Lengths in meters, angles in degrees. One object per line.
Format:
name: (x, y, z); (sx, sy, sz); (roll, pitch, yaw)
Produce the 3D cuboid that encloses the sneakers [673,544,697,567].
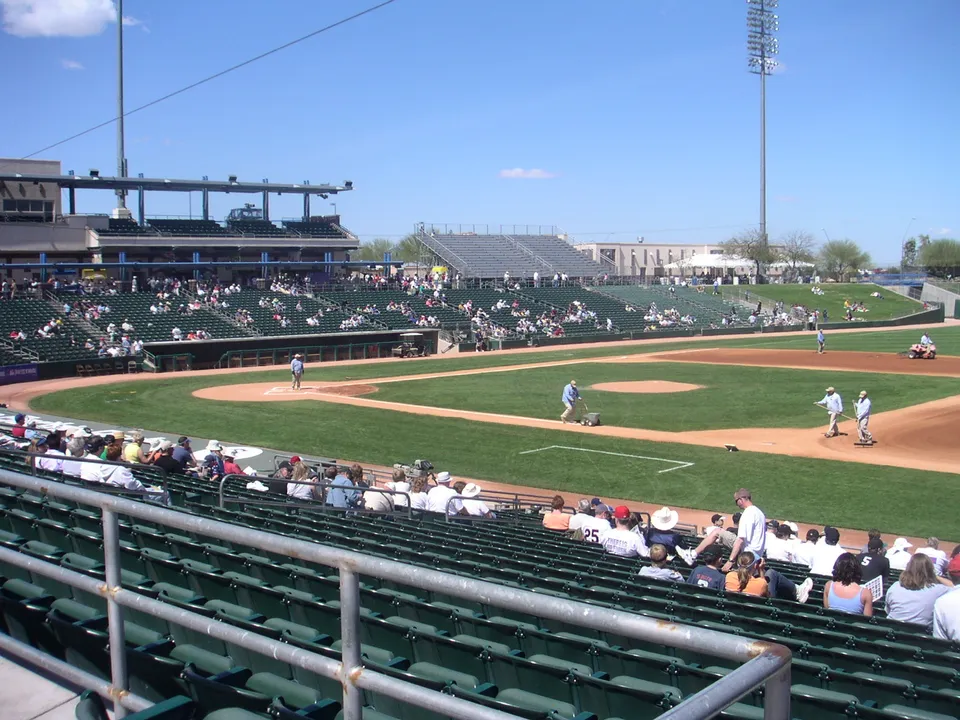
sneakers: (2.874, 2.746, 12.978); (0.311, 0.108, 0.383); (-10, 15, -7)
